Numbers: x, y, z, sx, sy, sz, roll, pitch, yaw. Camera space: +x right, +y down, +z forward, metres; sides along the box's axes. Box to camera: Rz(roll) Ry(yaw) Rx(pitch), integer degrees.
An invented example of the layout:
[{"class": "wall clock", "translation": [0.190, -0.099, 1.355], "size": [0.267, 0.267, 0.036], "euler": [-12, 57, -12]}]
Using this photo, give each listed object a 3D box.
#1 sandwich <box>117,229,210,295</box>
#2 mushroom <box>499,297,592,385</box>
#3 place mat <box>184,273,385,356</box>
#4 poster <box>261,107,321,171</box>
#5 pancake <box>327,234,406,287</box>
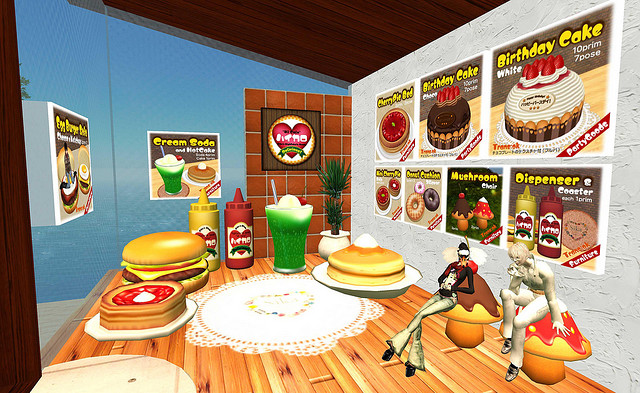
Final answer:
[{"class": "sandwich", "translation": [-0.718, 0.337, 1.619], "size": [0.432, 0.263, 0.397], "euler": [-1, -1, -21]}, {"class": "mushroom", "translation": [0.725, 0.491, 1.217], "size": [0.273, 0.247, 0.286], "euler": [-1, 1, 4]}, {"class": "place mat", "translation": [-0.198, 0.503, 1.454], "size": [0.723, 0.099, 0.676], "euler": [4, 7, 42]}, {"class": "poster", "translation": [-0.198, -0.354, 2.067], "size": [0.451, 0.379, 0.044], "euler": [0, 3, -19]}, {"class": "pancake", "translation": [0.205, 0.277, 1.544], "size": [0.363, 0.174, 0.346], "euler": [-4, 10, -28]}]
